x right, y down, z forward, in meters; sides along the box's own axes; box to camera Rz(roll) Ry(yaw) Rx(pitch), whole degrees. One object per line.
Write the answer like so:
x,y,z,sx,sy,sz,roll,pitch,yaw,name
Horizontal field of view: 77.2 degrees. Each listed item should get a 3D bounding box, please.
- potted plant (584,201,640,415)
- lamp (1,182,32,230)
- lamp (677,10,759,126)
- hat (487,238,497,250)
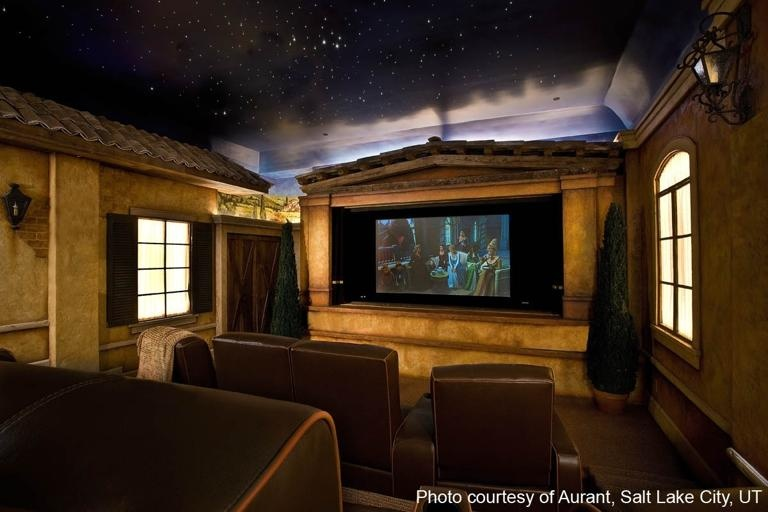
3.044,0.680,6.413,0.611,2.747,0.283,0,-1,36,potted plant
-4.749,-0.650,6.209,0.277,0.421,0.134,2,-1,-40,lamp
3.300,-1.903,4.864,0.473,1.312,0.666,1,-1,8,lamp
1.834,-0.205,8.086,0.102,0.116,0.254,19,-6,-34,hat
